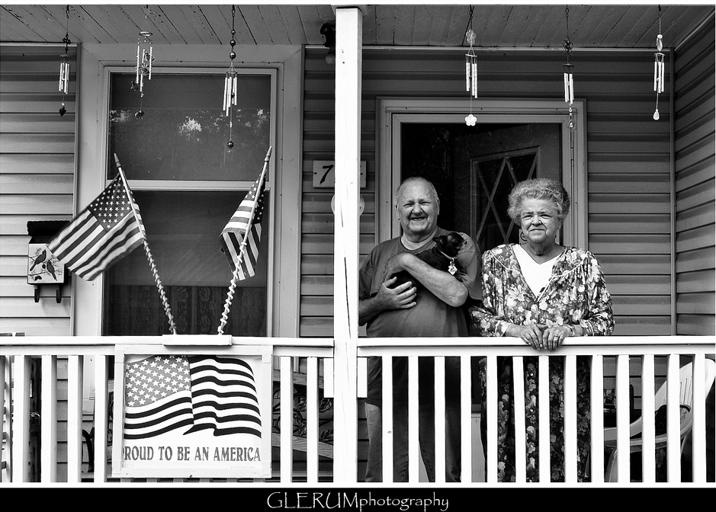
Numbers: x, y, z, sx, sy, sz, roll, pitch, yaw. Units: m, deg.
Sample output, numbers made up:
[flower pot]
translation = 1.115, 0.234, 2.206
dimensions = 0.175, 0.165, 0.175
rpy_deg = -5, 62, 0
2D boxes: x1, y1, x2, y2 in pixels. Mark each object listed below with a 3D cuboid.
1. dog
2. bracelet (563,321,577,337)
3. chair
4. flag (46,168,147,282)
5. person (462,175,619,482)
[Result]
[dog]
translation = 0.421, 0.064, 10.377
dimensions = 0.692, 0.300, 0.234
rpy_deg = -15, 4, -21
[bracelet]
translation = 1.434, 0.520, 10.029
dimensions = 0.044, 0.079, 0.132
rpy_deg = -7, -10, 38
[chair]
translation = 2.151, 1.231, 10.759
dimensions = 0.715, 0.872, 1.439
rpy_deg = 0, -8, 2
[flag]
translation = -1.913, -0.196, 11.018
dimensions = 0.741, 0.781, 0.092
rpy_deg = 21, -1, -3
[person]
translation = 1.258, 0.525, 10.160
dimensions = 0.960, 2.081, 0.425
rpy_deg = -1, -9, 3
